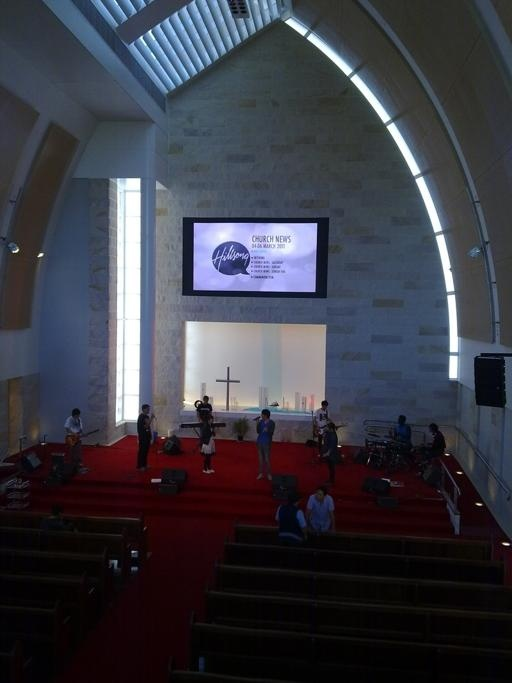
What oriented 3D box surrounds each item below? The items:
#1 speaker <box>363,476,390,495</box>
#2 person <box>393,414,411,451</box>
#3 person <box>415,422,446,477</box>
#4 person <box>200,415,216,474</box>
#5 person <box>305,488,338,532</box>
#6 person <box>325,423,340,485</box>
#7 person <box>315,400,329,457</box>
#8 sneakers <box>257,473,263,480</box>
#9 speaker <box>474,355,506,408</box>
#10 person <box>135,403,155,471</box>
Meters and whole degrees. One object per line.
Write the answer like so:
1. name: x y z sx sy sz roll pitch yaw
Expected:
1. speaker: 2.430 2.950 10.879 0.541 0.296 0.297 0 -1 44
2. person: 3.608 2.282 13.259 0.427 0.838 0.469 17 -23 -41
3. person: 4.154 2.527 12.710 0.565 1.219 0.451 6 13 21
4. person: -1.087 2.267 12.058 0.283 1.340 1.385 1 -1 -5
5. person: 0.942 2.659 8.020 0.383 1.157 0.375 -3 33 -1
6. person: 1.620 2.426 11.645 0.325 1.272 0.976 1 -1 8
7. person: 1.671 2.157 13.287 0.357 1.437 0.478 7 15 36
8. sneakers: 0.094 2.925 11.586 0.063 0.165 0.149 -2 -6 25
9. speaker: 3.431 0.591 7.831 0.257 0.698 0.580 1 -1 -14
10. person: -2.596 2.173 12.575 0.341 1.478 1.763 1 -1 -10
